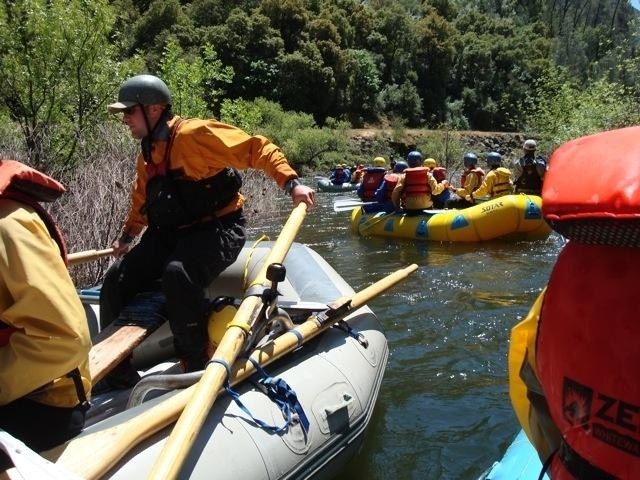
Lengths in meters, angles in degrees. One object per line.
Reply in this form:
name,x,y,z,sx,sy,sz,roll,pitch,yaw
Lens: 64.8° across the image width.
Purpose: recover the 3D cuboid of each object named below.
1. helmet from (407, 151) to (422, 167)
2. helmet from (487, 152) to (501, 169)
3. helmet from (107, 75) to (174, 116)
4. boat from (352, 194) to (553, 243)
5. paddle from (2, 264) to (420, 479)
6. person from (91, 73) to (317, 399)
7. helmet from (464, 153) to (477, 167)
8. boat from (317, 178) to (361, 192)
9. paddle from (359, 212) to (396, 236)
helmet,1.931,-1.667,10.337,0.245,0.379,0.365,-2,35,10
helmet,3.616,-1.670,10.393,0.251,0.400,0.364,-2,19,0
helmet,-1.163,-0.966,3.337,0.412,0.242,0.301,-7,9,-35
boat,2.442,-0.323,9.645,1.280,0.658,2.480,-2,-2,-42
paddle,0.029,0.538,3.061,0.479,0.217,3.455,-9,11,41
person,-0.895,-0.021,3.324,1.445,2.076,0.962,-7,-12,23
helmet,3.247,-1.765,10.922,0.268,0.367,0.374,2,-5,15
boat,0.629,-2.198,20.412,1.410,0.531,0.861,5,5,17
paddle,1.165,-0.363,10.591,0.057,0.288,1.002,8,-41,-46
